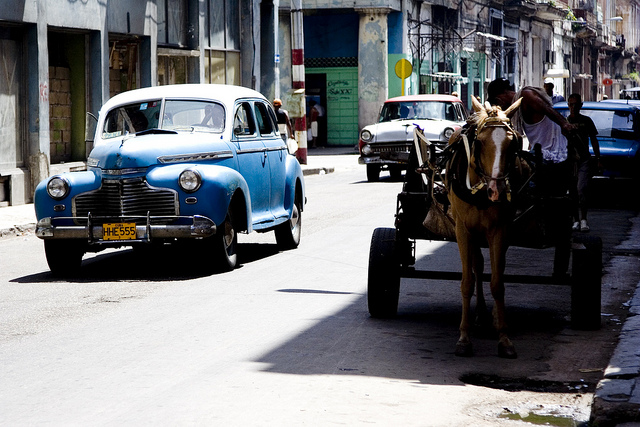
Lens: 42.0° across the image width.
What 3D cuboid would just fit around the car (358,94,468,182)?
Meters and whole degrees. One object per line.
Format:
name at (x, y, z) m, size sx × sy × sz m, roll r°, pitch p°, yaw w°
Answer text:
car at (2.629, -2.411, 23.578) m, size 1.963 × 1.702 × 3.594 m, roll -1°, pitch 0°, yaw 12°

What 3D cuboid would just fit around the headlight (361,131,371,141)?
headlight at (1.314, -2.152, 23.562) m, size 0.318 × 0.243 × 0.080 m, roll 6°, pitch 10°, yaw 39°

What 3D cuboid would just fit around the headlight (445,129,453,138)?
headlight at (3.534, -2.125, 22.668) m, size 0.203 × 0.209 × 0.446 m, roll 1°, pitch 8°, yaw 8°

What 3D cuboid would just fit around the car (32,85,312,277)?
car at (-1.840, -0.599, 13.191) m, size 2.330 × 2.094 × 4.383 m, roll -1°, pitch -1°, yaw 21°

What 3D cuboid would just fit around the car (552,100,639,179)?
car at (6.033, -1.583, 17.619) m, size 1.543 × 1.348 × 2.829 m, roll 1°, pitch 1°, yaw 23°

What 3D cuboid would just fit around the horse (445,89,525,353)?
horse at (1.663, 0.097, 8.393) m, size 0.796 × 2.497 × 1.546 m, roll 1°, pitch 8°, yaw 10°

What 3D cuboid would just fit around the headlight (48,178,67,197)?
headlight at (-3.668, -0.339, 11.572) m, size 0.277 × 0.227 × 0.082 m, roll 3°, pitch 8°, yaw 25°

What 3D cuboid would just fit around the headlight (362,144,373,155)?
headlight at (1.365, -1.767, 23.563) m, size 0.315 × 0.289 × 0.110 m, roll 4°, pitch 8°, yaw 27°
